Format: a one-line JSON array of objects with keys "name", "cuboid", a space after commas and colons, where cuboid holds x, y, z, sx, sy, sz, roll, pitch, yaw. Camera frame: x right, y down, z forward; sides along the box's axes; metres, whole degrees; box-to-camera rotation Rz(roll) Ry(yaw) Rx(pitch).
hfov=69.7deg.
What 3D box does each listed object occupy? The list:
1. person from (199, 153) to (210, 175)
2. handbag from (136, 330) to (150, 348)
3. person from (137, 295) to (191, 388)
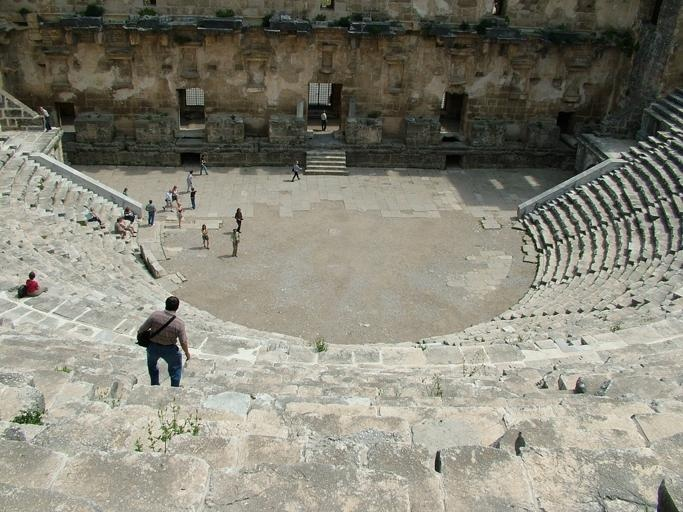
[{"name": "person", "cuboid": [-6.319, -4.246, 22.614, 0.418, 0.766, 1.103, -5, 27, -14]}, {"name": "handbag", "cuboid": [-2.669, 1.096, 6.529, 0.186, 0.215, 0.228, 5, -5, -25]}, {"name": "person", "cuboid": [-2.398, 1.232, 6.577, 0.656, 1.384, 0.528, -1, 28, -7]}]
